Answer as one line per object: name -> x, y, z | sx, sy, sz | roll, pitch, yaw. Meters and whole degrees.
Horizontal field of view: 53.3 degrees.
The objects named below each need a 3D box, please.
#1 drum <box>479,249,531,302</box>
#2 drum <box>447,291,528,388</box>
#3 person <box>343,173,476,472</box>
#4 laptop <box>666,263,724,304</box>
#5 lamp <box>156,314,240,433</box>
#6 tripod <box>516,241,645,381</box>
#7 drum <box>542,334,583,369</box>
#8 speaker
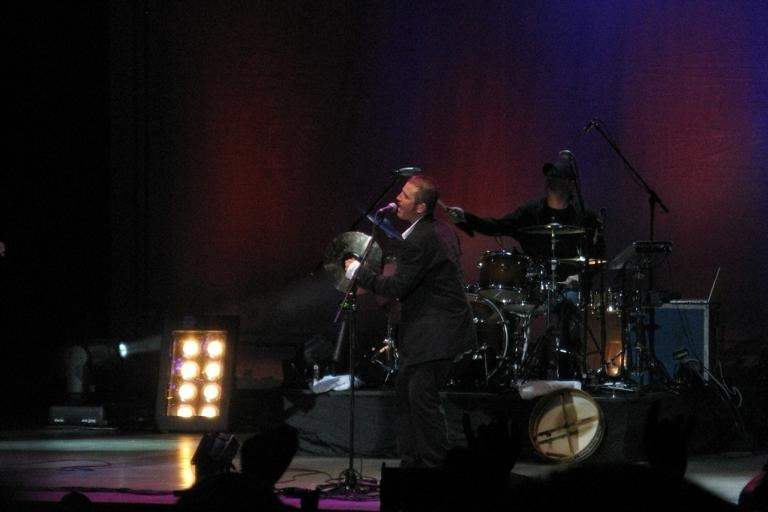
drum -> 1.174, 0.204, 7.635 | 0.525, 0.356, 0.502 | 10, -24, 4
drum -> 0.856, 0.812, 7.531 | 0.927, 0.834, 0.954 | -1, -9, 23
person -> 0.278, 0.481, 6.054 | 0.860, 2.287, 0.292 | 0, -7, 5
laptop -> 3.374, 0.354, 8.206 | 0.504, 0.327, 0.566 | -3, -6, 23
lamp -> -1.830, 1.158, 7.620 | 0.898, 1.105, 0.371 | 2, -9, 8
tripod -> 2.030, 0.647, 8.204 | 1.431, 1.495, 1.278 | 0, -6, 11
drum -> 1.833, 0.945, 7.676 | 0.483, 0.361, 0.408 | 2, -7, -7
speaker -> 3.065, 0.833, 7.779 | 0.580, 0.772, 0.298 | -1, -7, 18
